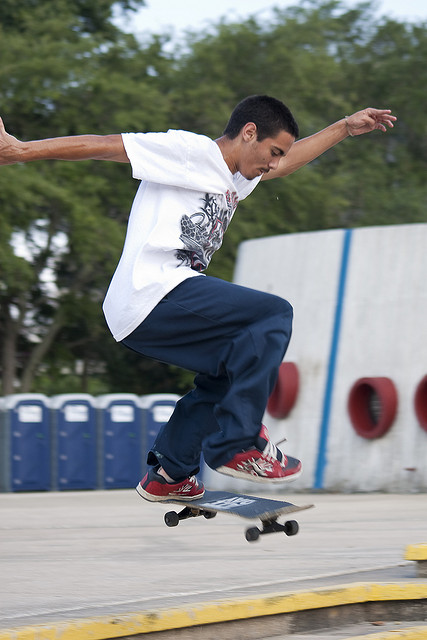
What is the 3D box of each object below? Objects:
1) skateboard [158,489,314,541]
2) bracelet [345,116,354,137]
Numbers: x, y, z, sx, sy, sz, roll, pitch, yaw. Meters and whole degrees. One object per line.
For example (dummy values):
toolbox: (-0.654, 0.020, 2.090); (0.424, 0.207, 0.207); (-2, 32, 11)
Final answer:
skateboard: (0.036, 0.801, 3.998); (0.245, 0.128, 0.907); (-1, -1, -39)
bracelet: (0.657, -0.945, 4.514); (0.036, 0.106, 0.096); (-5, 1, 15)
